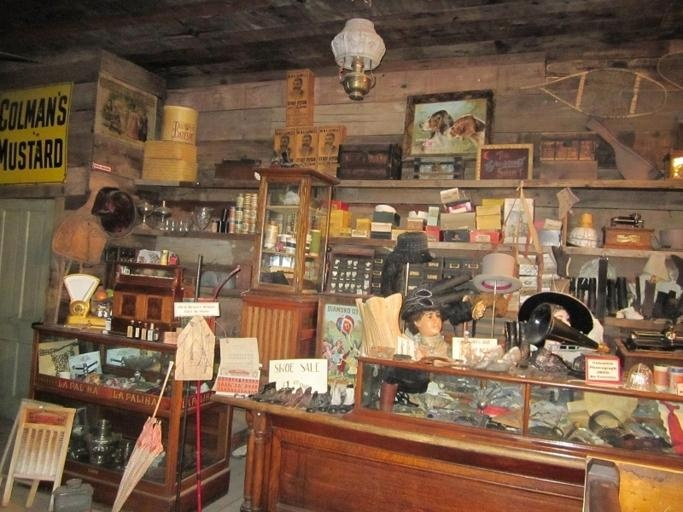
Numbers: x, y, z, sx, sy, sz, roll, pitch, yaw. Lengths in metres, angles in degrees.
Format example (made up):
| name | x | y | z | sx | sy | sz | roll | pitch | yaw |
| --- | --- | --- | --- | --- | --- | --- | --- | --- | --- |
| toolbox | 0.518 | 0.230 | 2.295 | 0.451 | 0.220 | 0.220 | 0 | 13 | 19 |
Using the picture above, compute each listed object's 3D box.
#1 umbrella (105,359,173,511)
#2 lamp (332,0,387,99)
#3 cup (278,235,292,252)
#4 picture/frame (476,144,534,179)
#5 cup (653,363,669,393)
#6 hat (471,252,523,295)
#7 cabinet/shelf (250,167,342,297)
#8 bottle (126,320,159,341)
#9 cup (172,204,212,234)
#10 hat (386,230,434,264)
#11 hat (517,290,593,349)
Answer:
| name | x | y | z | sx | sy | sz | roll | pitch | yaw |
| --- | --- | --- | --- | --- | --- | --- | --- | --- | --- |
| umbrella | -1.656 | 1.506 | 4.521 | 0.292 | 1.256 | 0.224 | 19 | -7 | 22 |
| lamp | 0.127 | -1.781 | 4.884 | 0.439 | 0.614 | 0.431 | 4 | -3 | -25 |
| cup | -0.517 | -0.123 | 5.117 | 0.150 | 0.140 | 0.151 | 1 | -1 | 0 |
| picture/frame | 1.540 | -0.885 | 5.118 | 0.354 | 0.293 | 0.037 | 3 | -1 | 14 |
| cup | 2.027 | 0.775 | 3.473 | 0.090 | 0.138 | 0.376 | 2 | -2 | 30 |
| hat | 1.237 | 0.135 | 4.346 | 0.353 | 0.303 | 0.375 | 3 | -2 | 14 |
| cabinet/shelf | -0.458 | -0.219 | 5.312 | 0.711 | 1.208 | 0.540 | 4 | -2 | 22 |
| bottle | -1.722 | 0.653 | 4.776 | 0.190 | 0.172 | 0.067 | 2 | 3 | 18 |
| cup | -1.778 | -0.447 | 6.361 | 0.519 | 0.499 | 0.286 | -1 | 3 | -23 |
| hat | 0.645 | -0.093 | 5.051 | 0.295 | 0.165 | 0.328 | 3 | 9 | 12 |
| hat | 1.440 | 0.399 | 3.729 | 0.382 | 0.098 | 0.382 | 49 | -28 | -21 |
